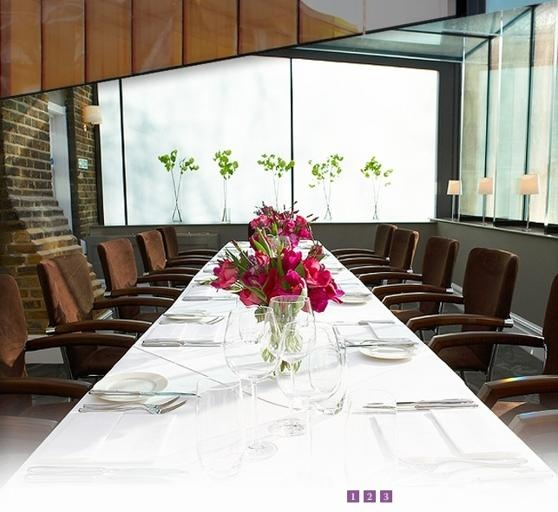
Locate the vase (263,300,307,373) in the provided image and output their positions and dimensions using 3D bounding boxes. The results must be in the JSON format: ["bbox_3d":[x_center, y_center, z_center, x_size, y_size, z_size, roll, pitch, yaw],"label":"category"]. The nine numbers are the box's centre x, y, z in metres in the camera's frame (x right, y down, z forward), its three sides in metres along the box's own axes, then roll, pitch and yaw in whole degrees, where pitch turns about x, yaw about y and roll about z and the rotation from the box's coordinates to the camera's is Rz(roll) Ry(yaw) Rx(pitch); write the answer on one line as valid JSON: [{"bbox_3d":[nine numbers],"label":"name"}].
[{"bbox_3d":[0.019,0.148,0.903,0.094,0.145,0.098,0,-4,2],"label":"vase"}]

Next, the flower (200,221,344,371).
[{"bbox_3d":[0.031,0.126,1.173,0.314,0.296,0.255,-2,9,-8],"label":"flower"}]

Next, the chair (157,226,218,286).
[{"bbox_3d":[-0.938,-0.020,4.344,0.555,0.683,0.507,-2,8,2],"label":"chair"}]

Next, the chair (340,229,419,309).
[{"bbox_3d":[0.787,-0.005,3.535,0.501,0.573,0.407,0,3,-9],"label":"chair"}]

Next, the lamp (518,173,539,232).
[{"bbox_3d":[2.400,-0.522,4.276,0.153,0.515,0.540,4,7,30],"label":"lamp"}]

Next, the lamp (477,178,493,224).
[{"bbox_3d":[2.402,-0.651,5.203,0.148,0.517,0.529,3,7,24],"label":"lamp"}]

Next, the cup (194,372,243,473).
[{"bbox_3d":[-0.086,0.255,0.663,0.069,0.151,0.115,0,6,-7],"label":"cup"}]

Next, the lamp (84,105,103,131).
[{"bbox_3d":[-2.486,-1.856,5.925,0.210,0.327,0.516,-2,6,-23],"label":"lamp"}]

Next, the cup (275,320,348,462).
[{"bbox_3d":[0.055,0.210,0.739,0.116,0.194,0.102,1,6,2],"label":"cup"}]

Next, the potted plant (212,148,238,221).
[{"bbox_3d":[-0.750,-1.000,6.319,0.361,1.022,0.180,0,7,-7],"label":"potted plant"}]

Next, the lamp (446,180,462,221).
[{"bbox_3d":[2.369,-0.759,6.007,0.161,0.526,0.591,3,7,22],"label":"lamp"}]
